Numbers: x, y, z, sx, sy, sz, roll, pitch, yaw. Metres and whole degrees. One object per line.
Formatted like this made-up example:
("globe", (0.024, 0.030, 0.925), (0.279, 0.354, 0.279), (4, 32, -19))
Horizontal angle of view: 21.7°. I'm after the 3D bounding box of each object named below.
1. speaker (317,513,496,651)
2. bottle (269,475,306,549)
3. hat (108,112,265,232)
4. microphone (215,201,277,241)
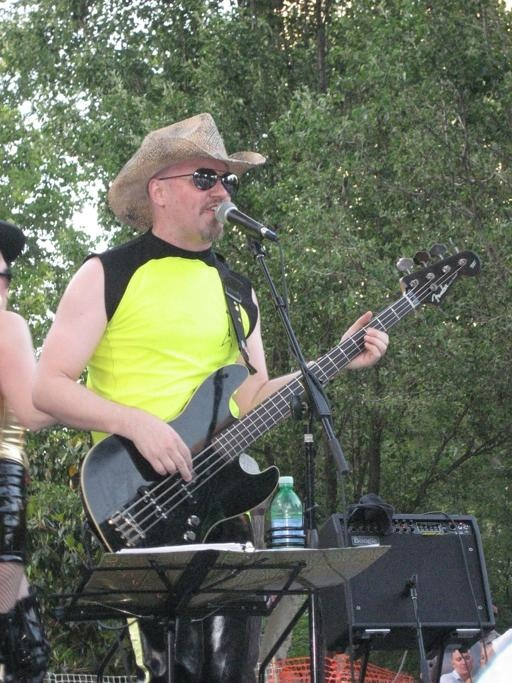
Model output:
("speaker", (0.819, 1.322, 7.756), (0.930, 0.632, 0.550), (5, -12, -22))
("bottle", (0.164, 0.899, 6.901), (0.185, 0.401, 0.181), (-2, -5, 0))
("hat", (-0.391, -1.007, 7.381), (0.905, 0.385, 0.695), (-26, -19, 40))
("microphone", (-0.066, -0.630, 6.938), (0.303, 0.226, 0.377), (1, 5, -11))
